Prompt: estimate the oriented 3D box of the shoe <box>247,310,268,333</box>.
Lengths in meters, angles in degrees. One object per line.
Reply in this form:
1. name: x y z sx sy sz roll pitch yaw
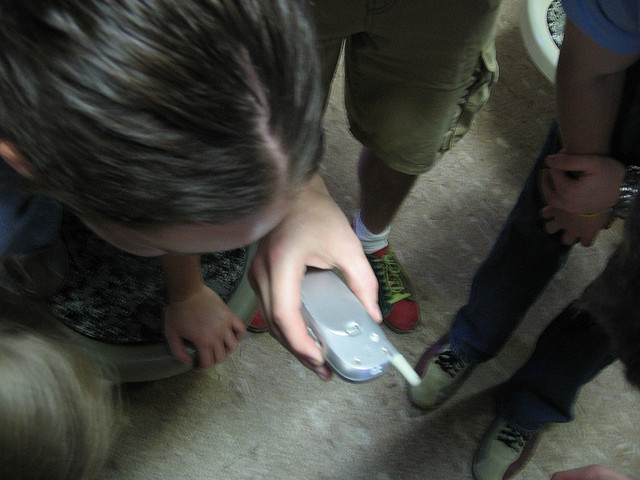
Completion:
1. shoe: -0.213 0.279 1.825 0.072 0.017 0.076 -32 95 2
